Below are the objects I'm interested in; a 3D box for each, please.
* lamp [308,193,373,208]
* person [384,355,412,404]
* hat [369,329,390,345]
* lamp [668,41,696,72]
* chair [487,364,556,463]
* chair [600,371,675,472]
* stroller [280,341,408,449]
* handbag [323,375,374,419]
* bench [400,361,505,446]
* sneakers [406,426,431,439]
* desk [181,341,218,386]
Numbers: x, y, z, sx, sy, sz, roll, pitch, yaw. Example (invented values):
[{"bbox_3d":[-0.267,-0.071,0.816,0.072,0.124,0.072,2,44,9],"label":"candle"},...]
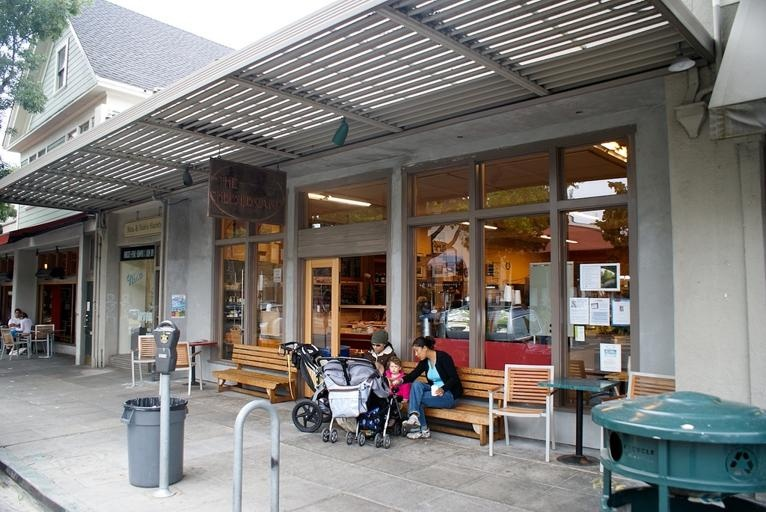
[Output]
[{"bbox_3d":[-0.867,-1.172,11.376,1.833,0.224,0.185,6,-29,30],"label":"lamp"},{"bbox_3d":[0.154,2.112,8.961,0.620,0.728,0.500,4,0,-1],"label":"person"},{"bbox_3d":[-0.071,1.506,9.755,0.235,0.219,0.314,7,-8,33],"label":"hat"},{"bbox_3d":[3.908,-2.537,6.904,0.359,0.328,0.333,5,-6,-39],"label":"lamp"},{"bbox_3d":[2.151,2.377,8.171,1.095,1.187,0.975,-4,-6,15],"label":"chair"},{"bbox_3d":[3.593,2.171,7.384,0.879,1.035,0.862,8,-14,-36],"label":"chair"},{"bbox_3d":[-0.663,2.369,8.934,2.199,1.316,1.264,-4,-13,16],"label":"stroller"},{"bbox_3d":[-0.525,2.180,8.503,1.067,0.714,0.523,0,-5,6],"label":"handbag"},{"bbox_3d":[1.172,2.481,9.063,1.926,1.065,0.833,-4,-2,40],"label":"bench"},{"bbox_3d":[0.582,2.928,8.782,0.458,0.169,0.156,1,-12,2],"label":"sneakers"},{"bbox_3d":[-4.707,2.653,13.131,1.125,0.953,1.107,0,0,-40],"label":"desk"}]
